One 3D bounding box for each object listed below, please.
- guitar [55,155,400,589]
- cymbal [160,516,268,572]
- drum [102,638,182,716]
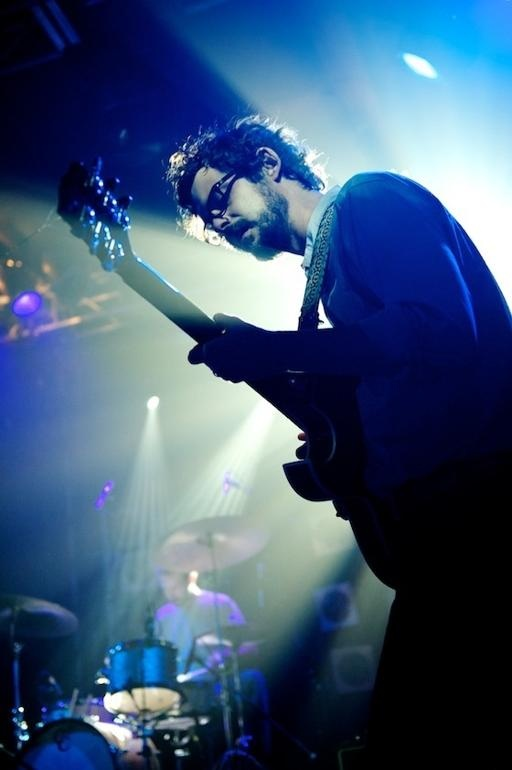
[{"bbox_3d":[-0.395,0.010,5.973,4.020,1.421,0.460,42,-21,-28],"label":"guitar"},{"bbox_3d":[-0.401,1.492,7.258,0.766,0.198,0.776,-24,-45,10],"label":"cymbal"},{"bbox_3d":[-0.874,2.277,6.127,0.626,0.422,0.628,-2,-40,-2],"label":"drum"}]
